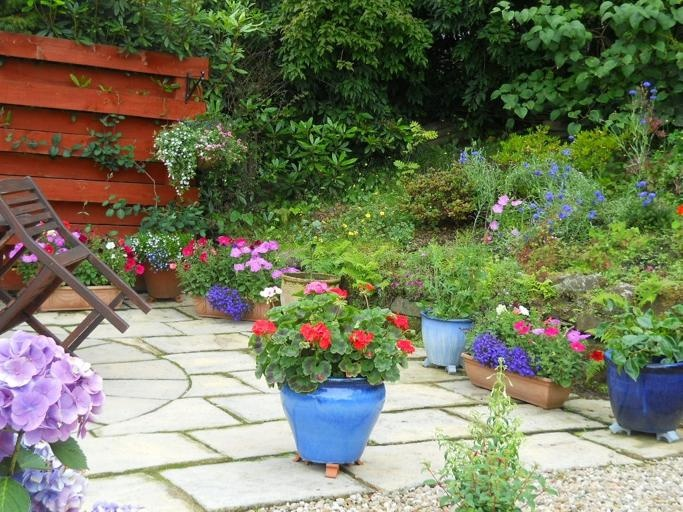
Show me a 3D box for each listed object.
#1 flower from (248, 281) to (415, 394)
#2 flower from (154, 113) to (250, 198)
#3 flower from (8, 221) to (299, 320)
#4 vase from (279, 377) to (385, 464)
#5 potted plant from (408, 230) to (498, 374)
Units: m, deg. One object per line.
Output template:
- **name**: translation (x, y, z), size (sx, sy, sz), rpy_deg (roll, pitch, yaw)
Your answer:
- **flower**: translation (-0.089, 0.472, 3.783), size (0.644, 0.449, 0.654), rpy_deg (2, 7, 1)
- **flower**: translation (-1.635, -1.127, 7.582), size (0.597, 0.911, 0.980), rpy_deg (11, 12, 35)
- **flower**: translation (-1.649, 0.088, 6.781), size (1.993, 0.611, 1.355), rpy_deg (2, 0, -10)
- **vase**: translation (-0.038, 0.870, 3.753), size (0.508, 0.375, 0.508), rpy_deg (0, -5, -1)
- **potted plant**: translation (0.913, 0.396, 5.871), size (1.043, 1.493, 0.981), rpy_deg (1, -6, 0)
